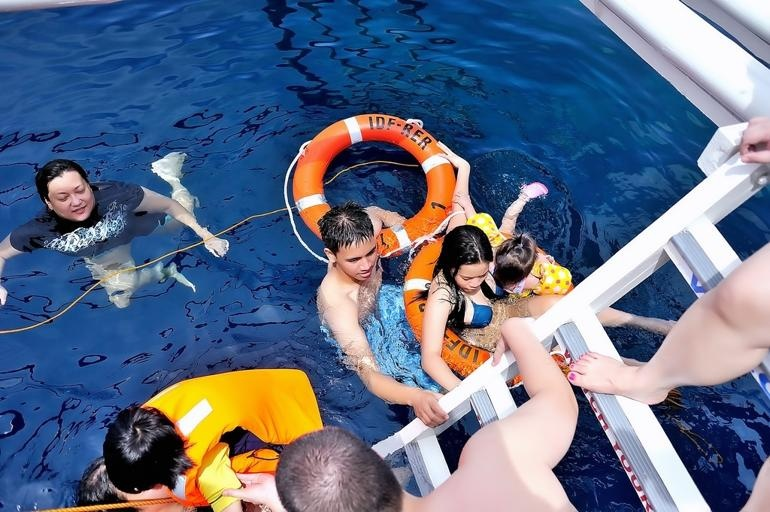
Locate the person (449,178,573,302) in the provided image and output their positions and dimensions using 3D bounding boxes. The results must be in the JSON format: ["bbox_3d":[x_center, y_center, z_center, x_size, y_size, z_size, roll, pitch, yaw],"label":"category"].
[{"bbox_3d":[1.135,-0.101,5.419,1.157,0.459,0.946,-4,73,-7],"label":"person"}]
